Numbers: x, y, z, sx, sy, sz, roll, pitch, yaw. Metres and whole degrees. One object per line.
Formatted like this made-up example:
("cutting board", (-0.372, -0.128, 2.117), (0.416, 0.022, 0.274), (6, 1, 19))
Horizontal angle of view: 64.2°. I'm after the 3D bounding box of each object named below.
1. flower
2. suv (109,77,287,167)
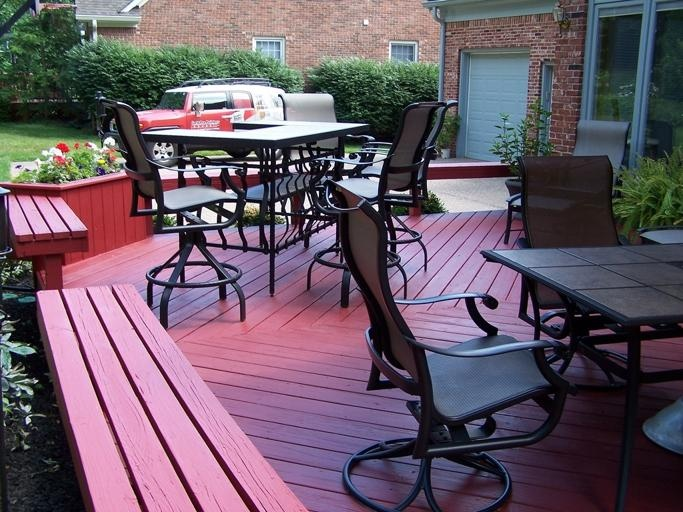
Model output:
("flower", (-2.717, -0.958, 5.422), (0.913, 0.339, 1.249), (-5, 16, -8))
("suv", (-3.898, -3.387, 13.369), (2.930, 1.869, 5.462), (18, 23, 34))
